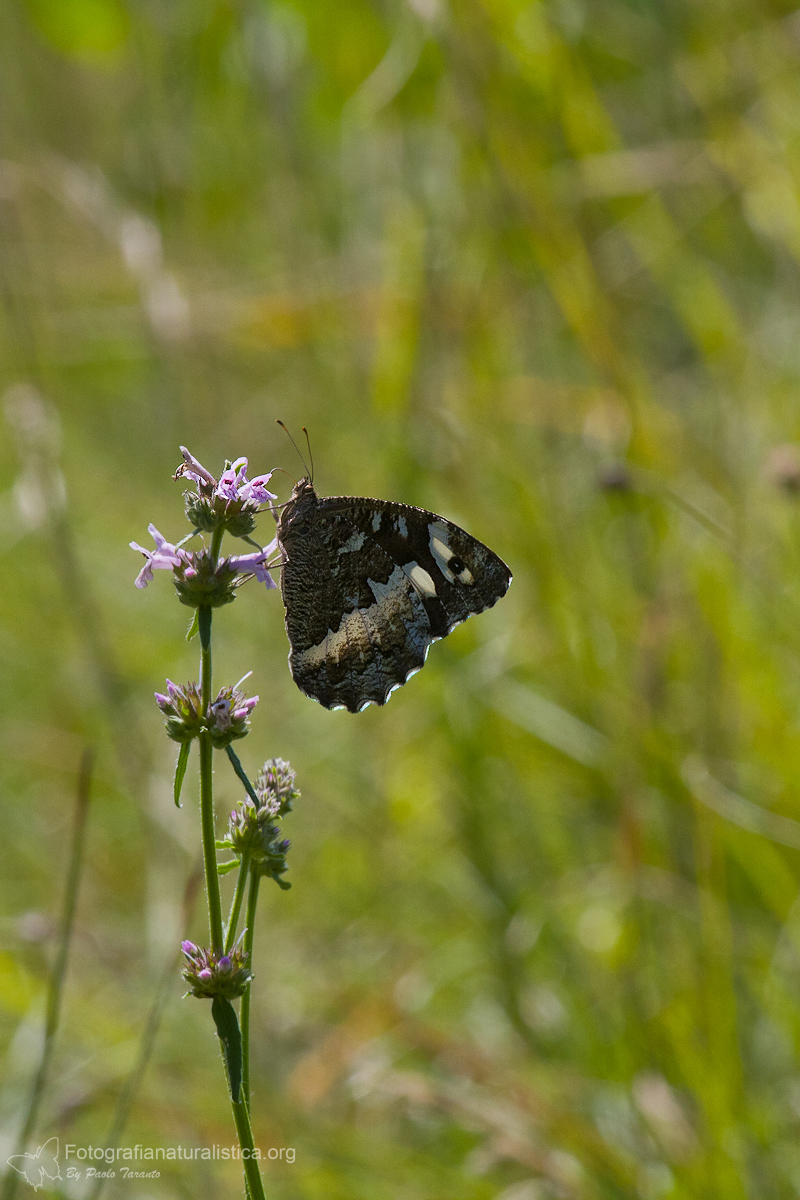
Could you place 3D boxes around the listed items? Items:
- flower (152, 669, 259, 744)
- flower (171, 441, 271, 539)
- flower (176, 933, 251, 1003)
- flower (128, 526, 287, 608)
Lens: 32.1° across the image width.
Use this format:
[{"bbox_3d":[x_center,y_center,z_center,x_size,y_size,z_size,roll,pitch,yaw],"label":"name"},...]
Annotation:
[{"bbox_3d":[-0.375,0.213,2.654,0.176,0.169,0.086,1,91,14],"label":"flower"},{"bbox_3d":[-0.353,-0.187,2.828,0.226,0.194,0.097,23,116,-26],"label":"flower"},{"bbox_3d":[-0.336,0.662,2.507,0.130,0.123,0.055,1,83,9],"label":"flower"},{"bbox_3d":[-0.373,-0.036,2.816,0.235,0.222,0.090,6,94,-41],"label":"flower"}]
